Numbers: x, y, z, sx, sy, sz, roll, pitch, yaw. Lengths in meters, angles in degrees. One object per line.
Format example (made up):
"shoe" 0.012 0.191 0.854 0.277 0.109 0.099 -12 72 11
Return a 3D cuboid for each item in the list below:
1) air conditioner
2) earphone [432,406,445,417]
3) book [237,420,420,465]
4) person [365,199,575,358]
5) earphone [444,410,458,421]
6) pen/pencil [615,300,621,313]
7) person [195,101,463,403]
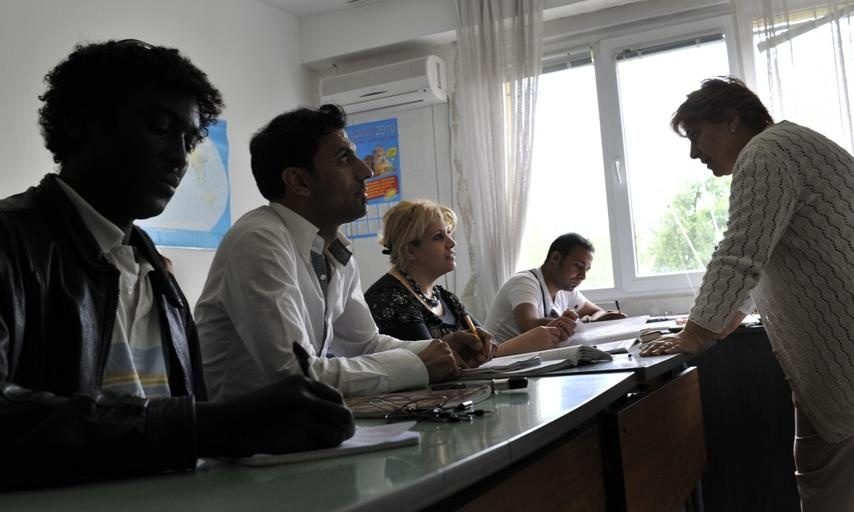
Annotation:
"air conditioner" -0.286 -1.321 4.396 1.249 0.393 0.398 -3 3 24
"earphone" 0.027 0.331 1.197 0.020 0.009 0.040 -1 3 -3
"book" -0.174 0.346 1.070 0.343 0.034 0.180 -2 3 -14
"person" 0.189 0.176 2.580 0.949 0.887 0.590 0 -1 29
"earphone" 0.054 0.334 1.168 0.024 0.015 0.016 -1 3 8
"pen/pencil" 1.322 0.350 3.889 0.017 0.115 0.022 -11 43 26
"person" -0.340 -0.011 1.864 0.892 0.896 0.704 1 1 -21
